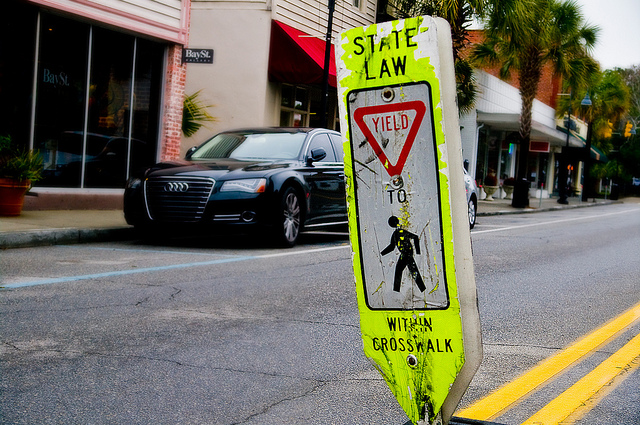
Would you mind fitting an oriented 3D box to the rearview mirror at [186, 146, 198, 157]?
[{"bbox_3d":[-2.718,-1.281,12.010,0.227,0.206,0.435,2,6,-12],"label":"rearview mirror"}]

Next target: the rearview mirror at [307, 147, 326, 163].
[{"bbox_3d":[-0.054,-1.121,11.151,0.354,0.301,0.605,2,6,-5],"label":"rearview mirror"}]

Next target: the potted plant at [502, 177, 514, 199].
[{"bbox_3d":[11.933,-1.481,35.771,0.635,1.297,2.815,4,6,18],"label":"potted plant"}]
